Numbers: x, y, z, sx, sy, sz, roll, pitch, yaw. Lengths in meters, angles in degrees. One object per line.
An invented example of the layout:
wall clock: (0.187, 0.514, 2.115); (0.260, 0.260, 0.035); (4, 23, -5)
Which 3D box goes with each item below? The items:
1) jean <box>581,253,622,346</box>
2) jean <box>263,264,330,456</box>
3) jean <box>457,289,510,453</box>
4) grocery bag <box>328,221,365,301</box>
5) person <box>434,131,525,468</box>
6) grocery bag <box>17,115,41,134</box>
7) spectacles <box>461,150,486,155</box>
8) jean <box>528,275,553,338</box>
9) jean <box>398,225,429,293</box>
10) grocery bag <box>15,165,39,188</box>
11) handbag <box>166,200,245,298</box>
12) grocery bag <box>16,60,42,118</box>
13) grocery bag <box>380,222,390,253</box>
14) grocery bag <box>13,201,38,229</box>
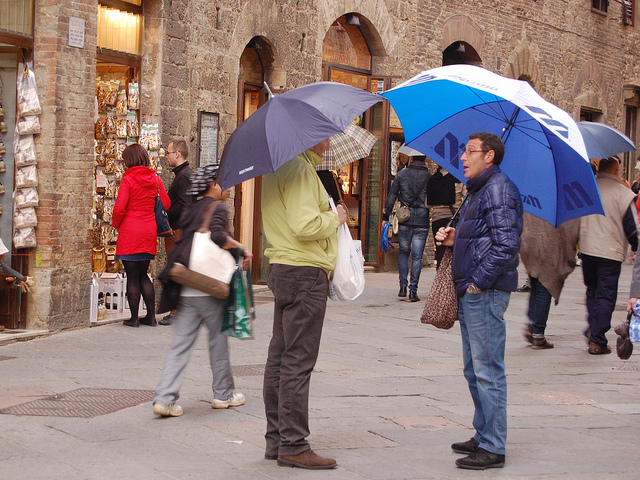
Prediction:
jean: (3.413, 0.695, 9.546); (0.512, 1.084, 0.528); (8, 11, 22)
jean: (-0.177, 0.878, 5.703); (0.442, 1.393, 0.347); (3, 2, -4)
jean: (1.198, 0.938, 5.937); (0.589, 1.097, 0.516); (6, 11, 21)
grocery bag: (0.219, 0.155, 5.856); (0.249, 0.590, 0.259); (-2, 17, -24)
person: (1.255, 0.433, 5.853); (0.465, 1.899, 0.429); (3, 2, -5)
grocery bag: (-3.520, -1.410, 9.512); (0.283, 0.239, 0.088); (3, 2, 10)
spectacles: (1.170, -0.665, 5.913); (0.100, 0.030, 0.098); (1, 3, -6)
jean: (2.754, 0.842, 9.797); (0.267, 0.614, 0.365); (3, 2, 17)
jean: (1.586, 0.307, 13.247); (0.500, 1.065, 0.490); (3, 9, 8)
grocery bag: (-3.567, -0.779, 9.544); (0.314, 0.287, 0.113); (3, 2, 14)
handbag: (-0.886, 0.018, 6.558); (0.519, 0.854, 0.237); (16, 34, 17)
grocery bag: (-3.550, -1.880, 9.551); (0.331, 0.720, 0.141); (-9, -11, 12)
grocery bag: (1.138, -0.055, 13.451); (0.122, 0.343, 0.347); (3, 2, 5)
grocery bag: (-3.569, -0.283, 9.506); (0.213, 0.357, 0.124); (-7, 5, -9)
